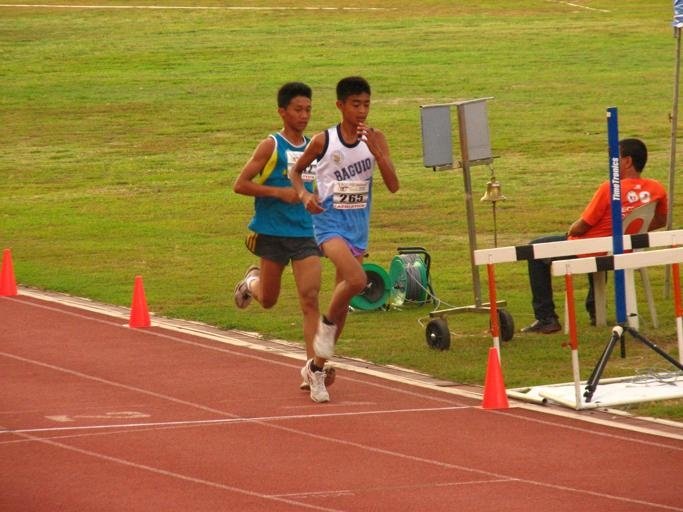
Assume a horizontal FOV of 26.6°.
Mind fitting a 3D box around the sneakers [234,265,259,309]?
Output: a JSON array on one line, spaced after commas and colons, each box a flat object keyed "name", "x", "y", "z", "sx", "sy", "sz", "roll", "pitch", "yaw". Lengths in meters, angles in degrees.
[{"name": "sneakers", "x": -1.074, "y": 0.392, "z": 17.365, "sx": 0.227, "sy": 0.572, "sz": 0.251, "roll": 10, "pitch": 29, "yaw": -30}]

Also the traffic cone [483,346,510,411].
[{"name": "traffic cone", "x": 1.656, "y": 1.265, "z": 15.473, "sx": 0.292, "sy": 0.658, "sz": 0.375, "roll": 1, "pitch": 14, "yaw": 7}]

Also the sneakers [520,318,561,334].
[{"name": "sneakers", "x": 2.501, "y": 0.859, "z": 18.013, "sx": 0.519, "sy": 0.208, "sz": 0.177, "roll": 0, "pitch": 2, "yaw": 13}]
